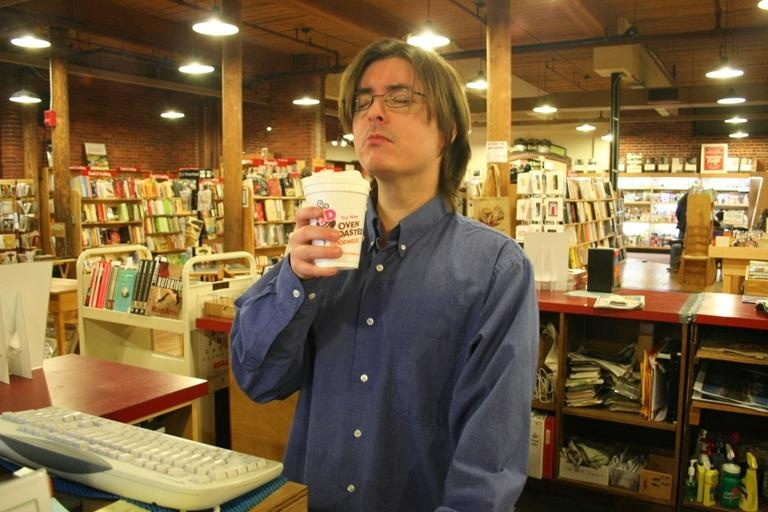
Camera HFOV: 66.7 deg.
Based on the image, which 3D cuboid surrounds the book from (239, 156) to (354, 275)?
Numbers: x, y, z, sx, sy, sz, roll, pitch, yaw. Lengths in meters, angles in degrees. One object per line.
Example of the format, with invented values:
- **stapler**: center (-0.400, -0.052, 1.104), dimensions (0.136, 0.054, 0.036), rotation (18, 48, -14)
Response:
- **book**: center (-0.243, -0.123, 1.906), dimensions (0.312, 0.349, 0.311), rotation (0, -12, 3)

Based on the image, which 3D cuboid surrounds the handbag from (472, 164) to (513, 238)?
- **handbag**: center (1.014, -0.534, 5.671), dimensions (0.371, 0.658, 0.156), rotation (-1, 19, 7)

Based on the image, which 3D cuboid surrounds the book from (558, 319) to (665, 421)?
- **book**: center (1.522, 0.721, 3.832), dimensions (0.525, 0.284, 0.642), rotation (1, 2, 28)

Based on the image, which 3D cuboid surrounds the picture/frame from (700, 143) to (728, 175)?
- **picture/frame**: center (9.523, -2.818, 16.970), dimensions (0.812, 1.102, 0.091), rotation (13, -5, 30)
